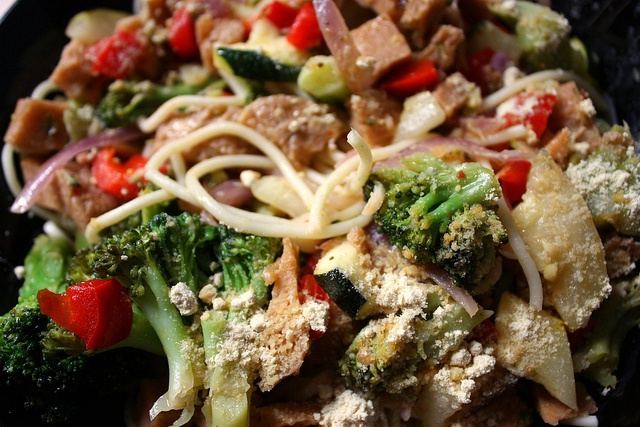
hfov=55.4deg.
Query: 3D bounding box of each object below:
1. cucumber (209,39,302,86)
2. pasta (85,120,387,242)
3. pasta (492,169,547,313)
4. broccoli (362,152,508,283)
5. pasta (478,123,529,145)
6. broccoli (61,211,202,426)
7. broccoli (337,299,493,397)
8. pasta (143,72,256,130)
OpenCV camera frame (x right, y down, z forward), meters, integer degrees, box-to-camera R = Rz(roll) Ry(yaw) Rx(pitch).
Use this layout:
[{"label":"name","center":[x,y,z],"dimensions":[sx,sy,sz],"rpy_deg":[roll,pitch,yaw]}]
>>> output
[{"label":"cucumber","center":[-0.359,-0.853,3.504],"dimensions":[0.506,0.130,0.154],"rpy_deg":[8,78,3]},{"label":"pasta","center":[-0.560,-0.215,3.706],"dimensions":[1.131,1.760,0.695],"rpy_deg":[-2,96,36]},{"label":"pasta","center":[1.044,0.216,3.247],"dimensions":[0.132,0.108,0.941],"rpy_deg":[-9,87,-7]},{"label":"broccoli","center":[0.606,0.004,3.097],"dimensions":[0.568,0.326,0.678],"rpy_deg":[-1,94,-3]},{"label":"pasta","center":[1.032,-0.436,3.459],"dimensions":[0.293,0.069,0.071],"rpy_deg":[-15,77,-2]},{"label":"broccoli","center":[-0.909,0.454,3.177],"dimensions":[0.655,0.467,1.093],"rpy_deg":[-7,87,10]},{"label":"broccoli","center":[0.474,0.707,3.170],"dimensions":[0.775,0.200,0.390],"rpy_deg":[-15,78,-2]},{"label":"pasta","center":[-0.741,-0.645,3.572],"dimensions":[0.543,0.290,0.370],"rpy_deg":[-12,95,10]}]
